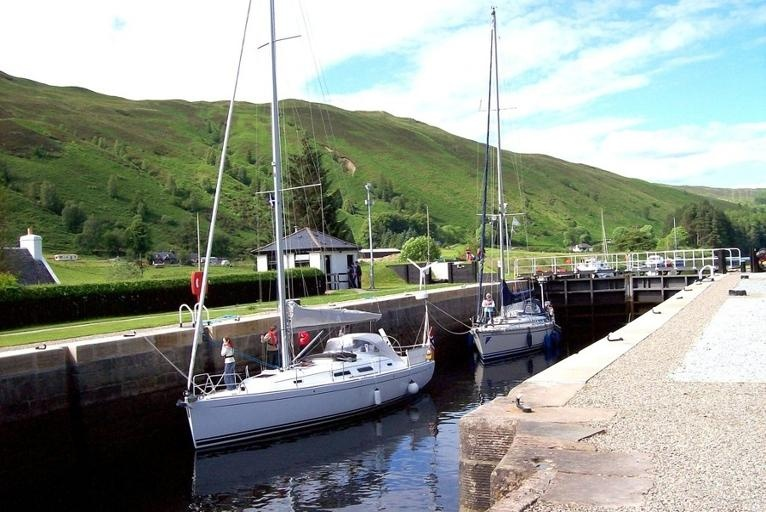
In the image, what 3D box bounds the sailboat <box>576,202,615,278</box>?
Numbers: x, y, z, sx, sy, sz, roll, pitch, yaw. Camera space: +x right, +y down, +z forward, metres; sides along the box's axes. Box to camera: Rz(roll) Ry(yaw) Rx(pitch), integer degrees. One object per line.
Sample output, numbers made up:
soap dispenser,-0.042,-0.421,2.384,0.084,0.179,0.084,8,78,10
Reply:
sailboat,56.851,-5.709,179.299,7.769,22.244,8.497,1,1,-28
